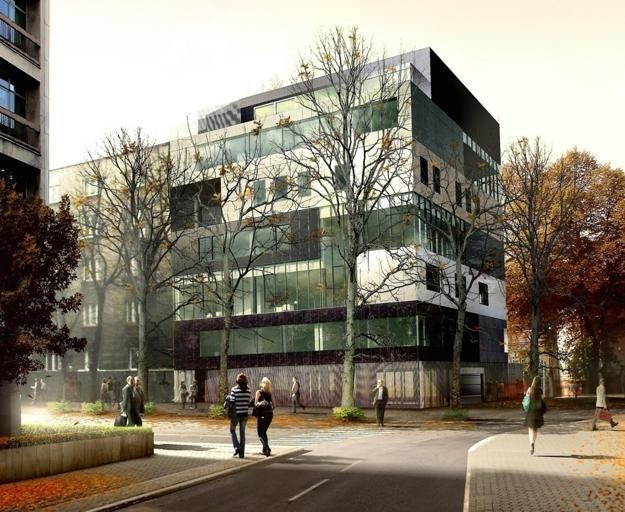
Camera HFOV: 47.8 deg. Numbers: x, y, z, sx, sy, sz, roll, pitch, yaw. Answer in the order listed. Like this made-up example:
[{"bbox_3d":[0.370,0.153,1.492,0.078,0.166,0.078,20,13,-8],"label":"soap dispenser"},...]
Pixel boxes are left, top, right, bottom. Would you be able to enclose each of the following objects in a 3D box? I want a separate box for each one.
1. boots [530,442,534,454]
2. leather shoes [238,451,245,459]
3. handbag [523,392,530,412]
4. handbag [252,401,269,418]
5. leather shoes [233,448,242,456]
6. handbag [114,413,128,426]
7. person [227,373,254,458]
[{"bbox_3d":[6.224,5.462,20.004,0.105,0.412,0.150,-1,10,16],"label":"boots"},{"bbox_3d":[-1.987,5.491,19.636,0.192,0.194,0.536,1,-15,-7],"label":"leather shoes"},{"bbox_3d":[6.306,4.245,20.625,0.161,0.499,0.285,8,-16,0],"label":"handbag"},{"bbox_3d":[-1.457,4.294,19.961,0.433,0.496,0.383,-4,-16,20],"label":"handbag"},{"bbox_3d":[-2.104,5.444,19.747,0.217,0.194,0.170,-2,-3,6],"label":"leather shoes"},{"bbox_3d":[-6.041,5.109,22.211,0.377,0.373,0.808,3,-15,-15],"label":"handbag"},{"bbox_3d":[-2.082,4.464,19.858,0.681,2.300,0.764,0,-12,0],"label":"person"}]
